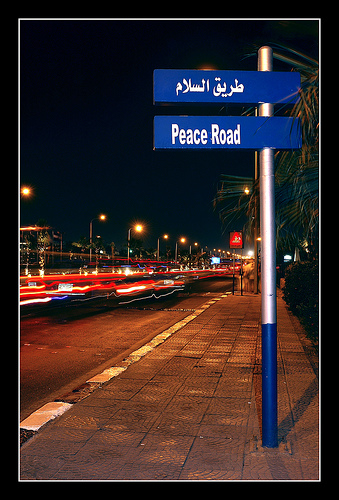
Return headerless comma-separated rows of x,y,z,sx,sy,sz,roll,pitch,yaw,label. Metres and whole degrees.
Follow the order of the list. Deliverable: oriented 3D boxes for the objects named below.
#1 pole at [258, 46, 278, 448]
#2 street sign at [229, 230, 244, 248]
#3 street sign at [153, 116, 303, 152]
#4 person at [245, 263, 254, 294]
0.982,-0.090,4.583,0.158,3.237,0.409,-1,0,13,pole
3.378,-0.505,23.176,0.648,0.712,0.759,-1,0,-1,street sign
0.561,-1.153,4.633,1.458,0.432,0.204,1,-23,12,street sign
5.135,1.797,29.387,0.485,1.618,1.548,-1,0,9,person
